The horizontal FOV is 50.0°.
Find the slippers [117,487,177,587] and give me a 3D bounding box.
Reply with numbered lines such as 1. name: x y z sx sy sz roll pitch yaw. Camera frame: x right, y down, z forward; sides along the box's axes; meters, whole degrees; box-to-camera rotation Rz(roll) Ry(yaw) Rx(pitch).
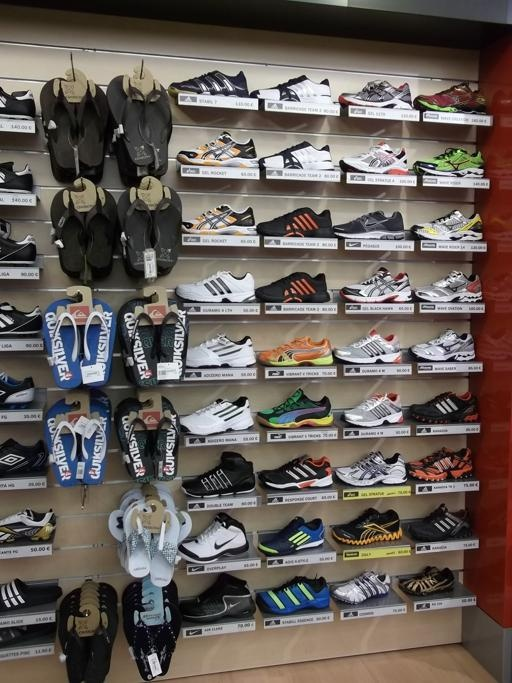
1. slippers: -0.444 0.804 2.363 0.272 0.418 0.124 1 0 -8
